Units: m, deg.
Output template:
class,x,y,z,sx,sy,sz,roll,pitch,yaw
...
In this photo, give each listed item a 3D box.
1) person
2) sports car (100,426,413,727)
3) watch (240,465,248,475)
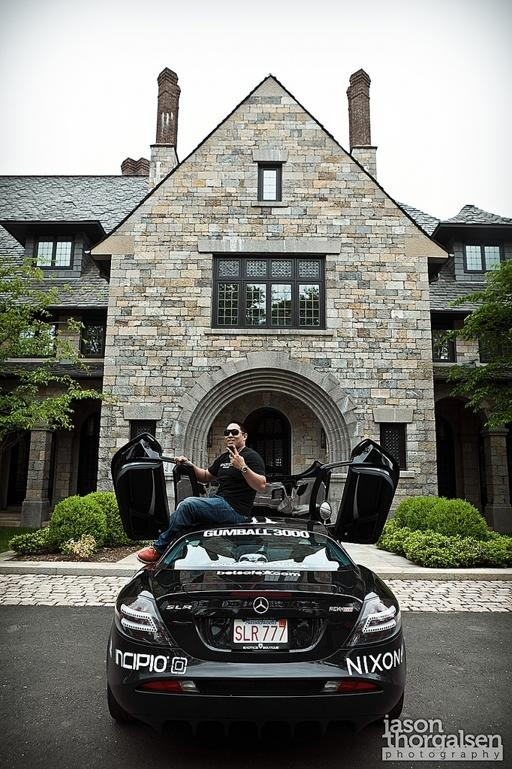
class,x,y,z,sx,sy,sz,roll,pitch,yaw
person,-0.384,0.778,3.996,0.849,1.134,0.681,10,-20,-16
sports car,0.035,1.015,3.423,1.280,1.153,2.475,0,-10,1
watch,-0.099,0.596,3.811,0.041,0.068,0.058,3,-2,-31
